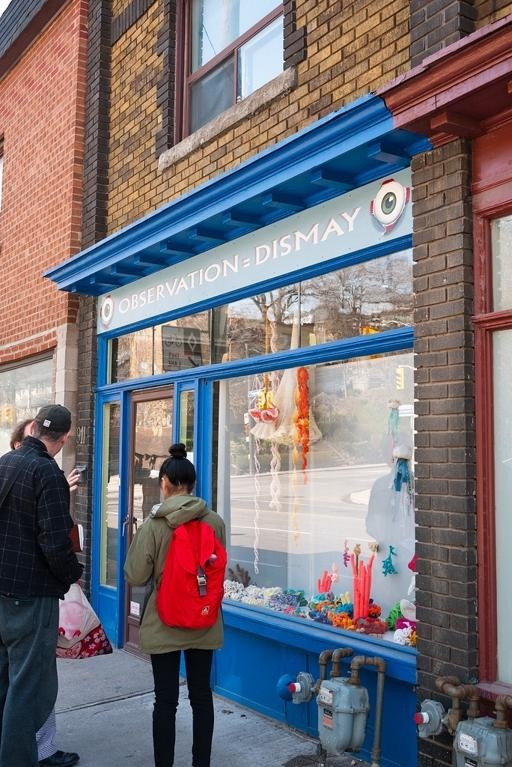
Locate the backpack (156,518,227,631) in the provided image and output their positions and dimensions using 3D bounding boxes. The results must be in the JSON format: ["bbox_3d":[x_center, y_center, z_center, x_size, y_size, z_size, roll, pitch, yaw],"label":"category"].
[{"bbox_3d":[-0.281,0.874,2.975,0.326,0.492,0.216,3,-5,-19],"label":"backpack"}]

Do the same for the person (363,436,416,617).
[{"bbox_3d":[0.794,0.827,3.820,0.147,0.982,0.498,3,-5,-10],"label":"person"}]

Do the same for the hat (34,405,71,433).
[{"bbox_3d":[-1.021,0.176,3.332,0.126,0.110,0.170,12,23,-2],"label":"hat"}]
